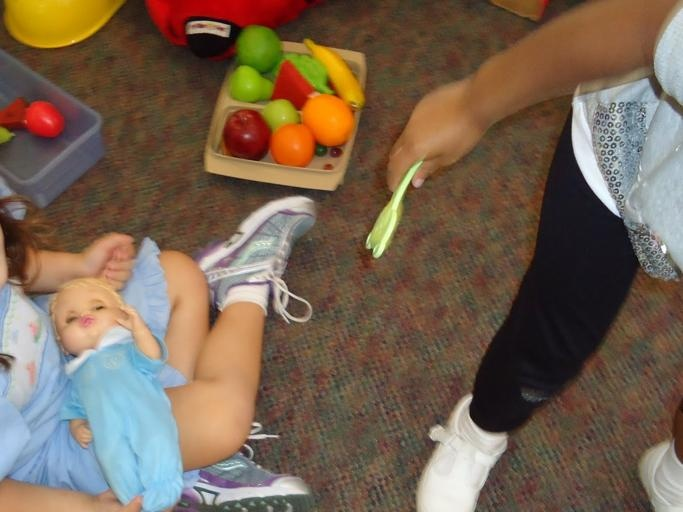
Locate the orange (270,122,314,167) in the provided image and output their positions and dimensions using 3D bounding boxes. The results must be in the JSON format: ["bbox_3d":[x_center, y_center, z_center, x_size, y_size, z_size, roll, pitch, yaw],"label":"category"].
[{"bbox_3d":[-0.138,-0.330,1.748,0.124,0.135,0.147,-13,112,-36],"label":"orange"}]

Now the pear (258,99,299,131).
[{"bbox_3d":[-0.182,-0.419,1.732,0.098,0.094,0.094,26,46,16],"label":"pear"}]

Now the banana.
[{"bbox_3d":[-0.004,-0.559,1.873,0.092,0.093,0.324,-35,84,3],"label":"banana"}]

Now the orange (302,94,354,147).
[{"bbox_3d":[-0.033,-0.413,1.783,0.165,0.153,0.147,-11,116,4],"label":"orange"}]

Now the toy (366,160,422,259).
[{"bbox_3d":[0.109,-0.089,1.307,0.064,0.090,0.316,21,104,2],"label":"toy"}]

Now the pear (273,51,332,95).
[{"bbox_3d":[-0.104,-0.569,1.819,0.100,0.054,0.169,-43,89,9],"label":"pear"}]

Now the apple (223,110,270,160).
[{"bbox_3d":[-0.271,-0.349,1.703,0.121,0.111,0.124,41,76,5],"label":"apple"}]

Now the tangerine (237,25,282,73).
[{"bbox_3d":[-0.259,-0.632,1.834,0.143,0.139,0.164,-9,100,-32],"label":"tangerine"}]

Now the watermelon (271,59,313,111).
[{"bbox_3d":[-0.143,-0.507,1.789,0.137,0.114,0.200,-5,54,-2],"label":"watermelon"}]

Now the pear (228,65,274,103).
[{"bbox_3d":[-0.275,-0.516,1.799,0.140,0.105,0.091,-3,76,-6],"label":"pear"}]
